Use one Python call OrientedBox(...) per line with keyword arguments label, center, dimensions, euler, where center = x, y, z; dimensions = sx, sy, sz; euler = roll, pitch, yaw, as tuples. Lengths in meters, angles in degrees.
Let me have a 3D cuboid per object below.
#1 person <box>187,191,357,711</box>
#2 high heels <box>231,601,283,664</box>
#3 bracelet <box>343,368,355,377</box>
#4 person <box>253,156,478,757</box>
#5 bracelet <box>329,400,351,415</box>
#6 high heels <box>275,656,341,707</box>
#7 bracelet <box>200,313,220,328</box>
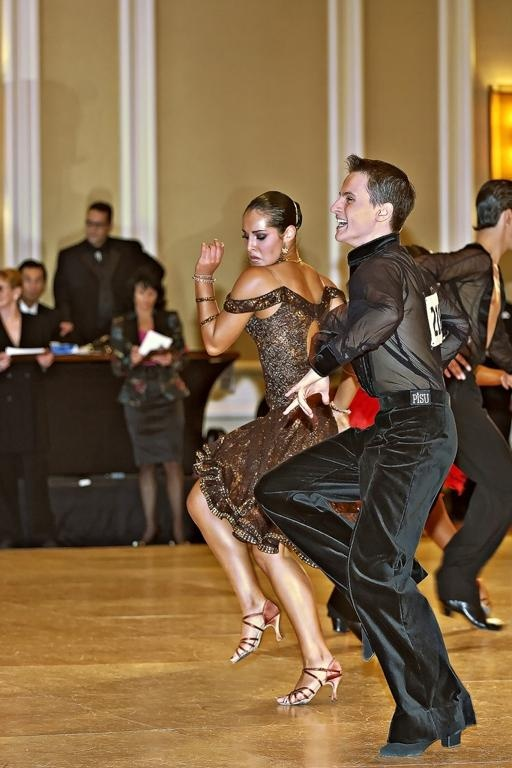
OrientedBox(label="person", center=(0.107, 0.171, 1.841), dimensions=(0.556, 1.285, 0.479), euler=(1, 1, 7))
OrientedBox(label="high heels", center=(-0.016, 0.625, 1.783), dimensions=(0.184, 0.100, 0.058), euler=(-17, -14, -33))
OrientedBox(label="bracelet", center=(0.225, -0.032, 1.698), dimensions=(0.025, 0.021, 0.022), euler=(-5, -21, 4))
OrientedBox(label="person", center=(0.189, 0.114, 1.337), dimensions=(0.367, 1.139, 0.415), euler=(-4, -11, 31))
OrientedBox(label="bracelet", center=(0.223, 0.062, 1.860), dimensions=(0.051, 0.016, 0.038), euler=(2, 7, -29))
OrientedBox(label="high heels", center=(0.110, 0.699, 1.657), dimensions=(0.202, 0.110, 0.079), euler=(-2, -7, -7))
OrientedBox(label="bracelet", center=(-0.122, -0.161, 1.789), dimensions=(0.039, 0.011, 0.039), euler=(-25, 1, 36))
